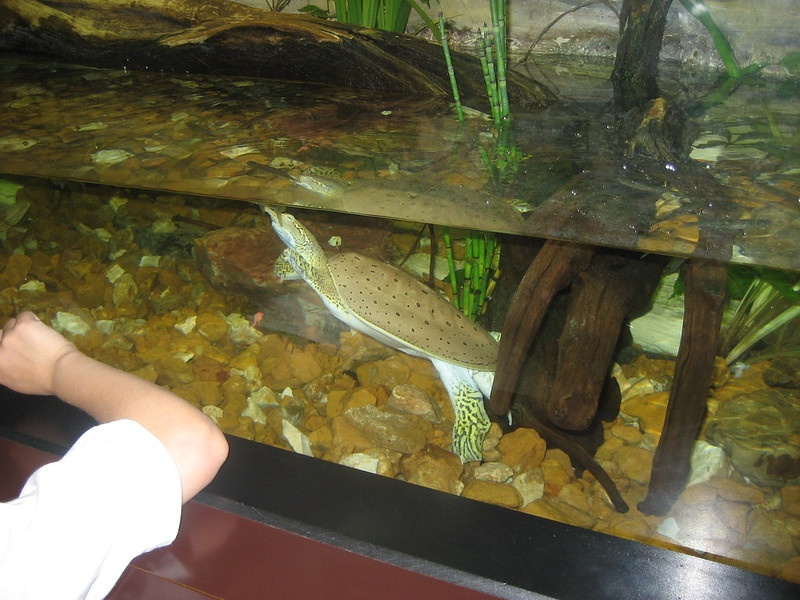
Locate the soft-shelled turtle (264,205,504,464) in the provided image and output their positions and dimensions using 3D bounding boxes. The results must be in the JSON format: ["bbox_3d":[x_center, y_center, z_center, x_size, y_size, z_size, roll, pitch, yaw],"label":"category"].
[{"bbox_3d":[-0.111,0.122,2.047,1.032,0.262,0.596,26,47,0],"label":"soft-shelled turtle"}]
